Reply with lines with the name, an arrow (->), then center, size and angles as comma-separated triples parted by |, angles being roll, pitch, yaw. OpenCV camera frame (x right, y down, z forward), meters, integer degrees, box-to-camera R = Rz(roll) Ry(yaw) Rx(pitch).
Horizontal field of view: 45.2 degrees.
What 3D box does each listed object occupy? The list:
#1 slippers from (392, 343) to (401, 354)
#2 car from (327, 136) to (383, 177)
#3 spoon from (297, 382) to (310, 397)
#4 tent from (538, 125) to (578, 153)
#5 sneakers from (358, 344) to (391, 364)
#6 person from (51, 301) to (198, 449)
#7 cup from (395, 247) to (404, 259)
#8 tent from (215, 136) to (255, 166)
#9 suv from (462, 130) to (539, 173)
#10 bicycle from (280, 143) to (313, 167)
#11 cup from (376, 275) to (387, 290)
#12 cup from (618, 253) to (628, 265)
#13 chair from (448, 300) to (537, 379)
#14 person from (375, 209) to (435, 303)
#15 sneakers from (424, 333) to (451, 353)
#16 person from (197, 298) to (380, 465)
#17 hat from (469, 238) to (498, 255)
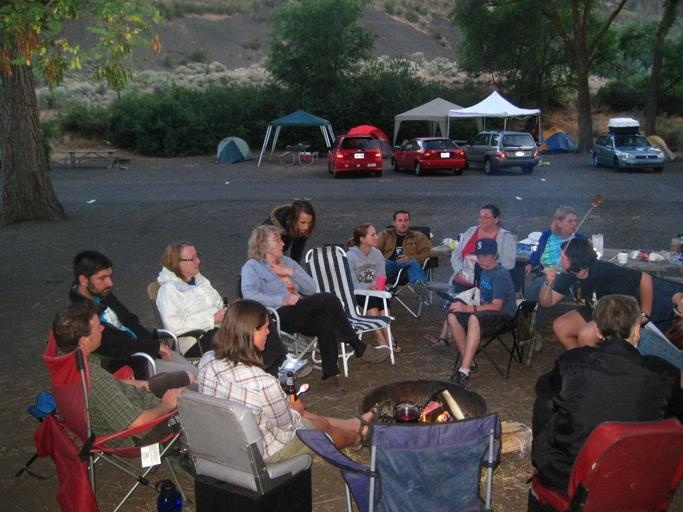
slippers -> 0.668, 1.108, 9.974 | 0.122, 0.087, 0.316 | -1, 2, -3
car -> 0.460, -3.319, 27.130 | 1.509, 1.395, 1.658 | -4, 9, -9
spoon -> -0.364, 1.229, 7.578 | 0.075, 0.077, 0.214 | -7, -33, -32
tent -> 10.049, -5.355, 38.569 | 1.379, 0.709, 1.382 | -13, 25, -22
sneakers -> 0.392, 1.135, 9.725 | 0.349, 0.203, 0.145 | 2, -35, 14
person -> -2.053, 0.933, 7.867 | 1.361, 1.611, 1.111 | -10, 13, -33
cup -> 0.823, -0.057, 11.555 | 0.131, 0.241, 0.135 | 2, 5, 0
tent -> -4.593, -4.518, 34.800 | 0.703, 1.036, 1.534 | 4, 11, 37
suv -> 5.469, -3.589, 28.125 | 1.393, 1.077, 3.056 | -3, 17, -12
bicycle -> -1.881, -4.114, 34.697 | 1.672, 1.108, 1.061 | -1, 20, 6
cup -> 0.504, 0.326, 10.420 | 0.153, 0.172, 0.160 | 2, -11, 0
cup -> 3.624, 0.021, 10.528 | 0.166, 0.170, 0.135 | 0, 3, 20
chair -> 1.832, 0.918, 9.663 | 0.836, 1.188, 0.762 | 2, 5, 4
person -> 0.833, -0.001, 11.524 | 0.859, 1.315, 1.034 | 1, 0, 25
sneakers -> 1.189, 1.066, 10.121 | 0.315, 0.142, 0.090 | 14, -34, 11
person -> -0.130, 1.103, 7.333 | 1.948, 1.448, 0.931 | 1, 2, -42
hat -> 1.719, -0.123, 9.603 | 0.250, 0.126, 0.181 | -1, 1, -40
